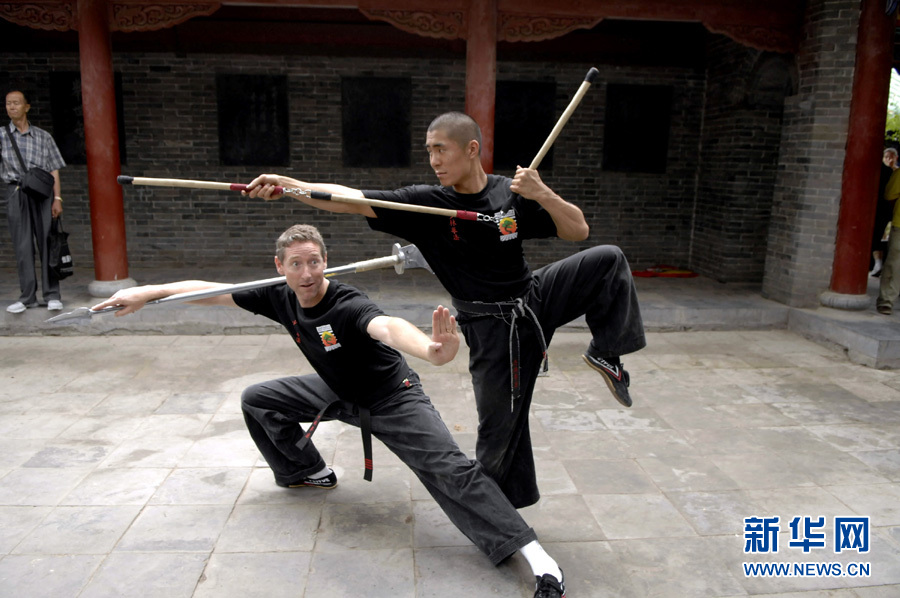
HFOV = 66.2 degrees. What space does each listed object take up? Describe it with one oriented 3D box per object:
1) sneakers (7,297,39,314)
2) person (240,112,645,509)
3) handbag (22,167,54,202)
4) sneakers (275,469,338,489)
[{"bbox_3d":[-4.457,0.077,7.196,0.137,0.097,0.310,1,2,16],"label":"sneakers"},{"bbox_3d":[0.348,0.075,4.048,1.373,2.282,0.620,-7,18,-7],"label":"person"},{"bbox_3d":[-4.252,-1.177,7.091,0.209,0.277,0.366,21,2,44],"label":"handbag"},{"bbox_3d":[-0.938,1.163,4.559,0.408,0.122,0.139,1,4,-9],"label":"sneakers"}]
